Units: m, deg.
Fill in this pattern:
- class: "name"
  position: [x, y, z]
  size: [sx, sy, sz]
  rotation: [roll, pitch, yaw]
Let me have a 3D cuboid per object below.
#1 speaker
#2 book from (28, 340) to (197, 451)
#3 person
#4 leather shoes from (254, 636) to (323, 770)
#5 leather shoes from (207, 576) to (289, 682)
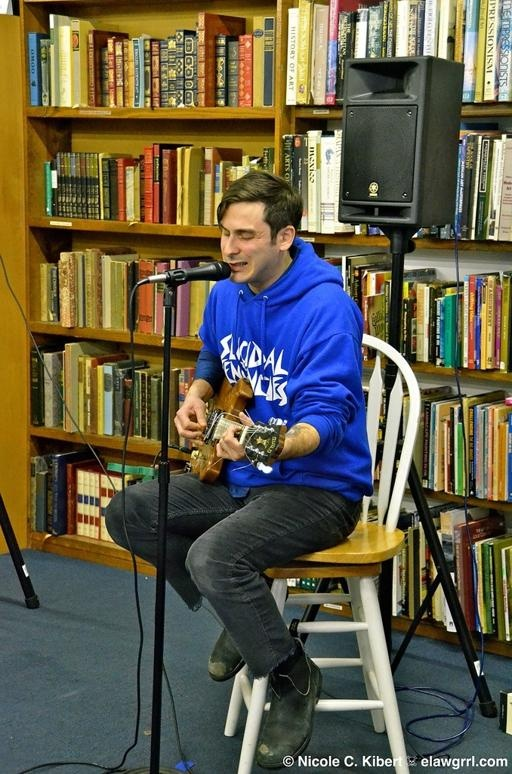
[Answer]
- class: "speaker"
  position: [0.344, -0.581, 1.746]
  size: [0.292, 0.398, 0.227]
  rotation: [1, 12, 9]
- class: "book"
  position: [-0.555, -0.018, 3.168]
  size: [0.747, 0.401, 0.458]
  rotation: [5, 9, 18]
- class: "person"
  position: [-0.052, 0.128, 1.428]
  size: [0.507, 1.067, 0.593]
  rotation: [5, 13, 23]
- class: "leather shoes"
  position: [0.085, 0.521, 1.298]
  size: [0.088, 0.118, 0.261]
  rotation: [-4, 34, 23]
- class: "leather shoes"
  position: [-0.017, 0.554, 1.669]
  size: [0.124, 0.145, 0.367]
  rotation: [1, 1, 8]
